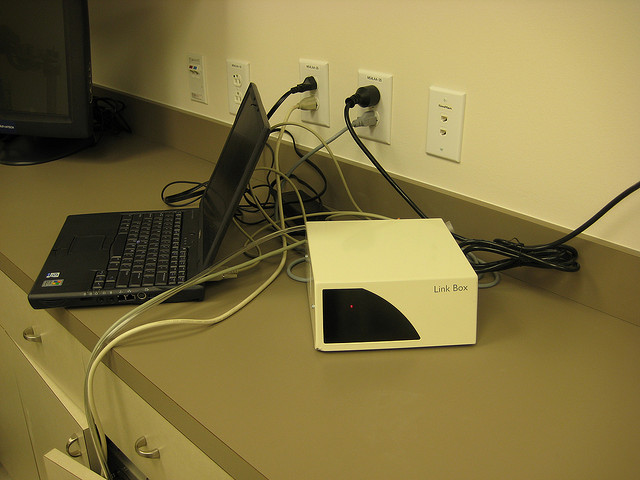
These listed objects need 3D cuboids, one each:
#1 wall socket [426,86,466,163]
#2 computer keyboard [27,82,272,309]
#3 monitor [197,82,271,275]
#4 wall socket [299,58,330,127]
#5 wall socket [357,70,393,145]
[{"bbox_3d":[0.249,-0.230,1.019,0.079,0.138,0.024,19,23,38],"label":"wall socket"},{"bbox_3d":[-0.342,-0.110,1.032,0.437,0.313,0.411,2,25,-10],"label":"computer keyboard"},{"bbox_3d":[-0.182,-0.131,1.013,0.119,0.343,0.369,0,18,-13],"label":"monitor"},{"bbox_3d":[-0.013,-0.344,1.200,0.102,0.152,0.014,15,28,36],"label":"wall socket"},{"bbox_3d":[0.118,-0.284,1.112,0.067,0.156,0.048,14,25,30],"label":"wall socket"}]
